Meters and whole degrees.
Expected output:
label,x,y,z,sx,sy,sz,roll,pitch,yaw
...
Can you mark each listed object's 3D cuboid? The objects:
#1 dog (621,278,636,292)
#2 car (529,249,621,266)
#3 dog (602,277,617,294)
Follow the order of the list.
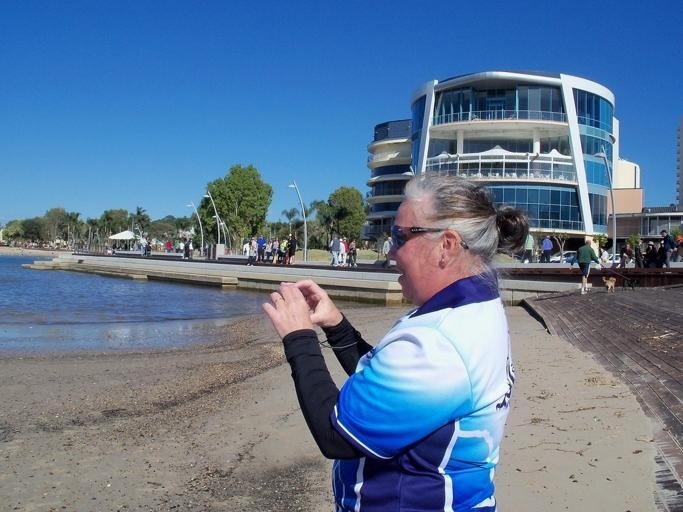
label,x,y,z,sx,sy,sz,roll,pitch,yaw
dog,11.312,1.159,19.372,0.375,0.487,0.397,-1,0,33
car,13.691,0.131,29.311,2.431,0.945,1.185,1,-2,2
dog,9.611,1.069,17.689,0.257,0.517,0.873,-2,-16,21
